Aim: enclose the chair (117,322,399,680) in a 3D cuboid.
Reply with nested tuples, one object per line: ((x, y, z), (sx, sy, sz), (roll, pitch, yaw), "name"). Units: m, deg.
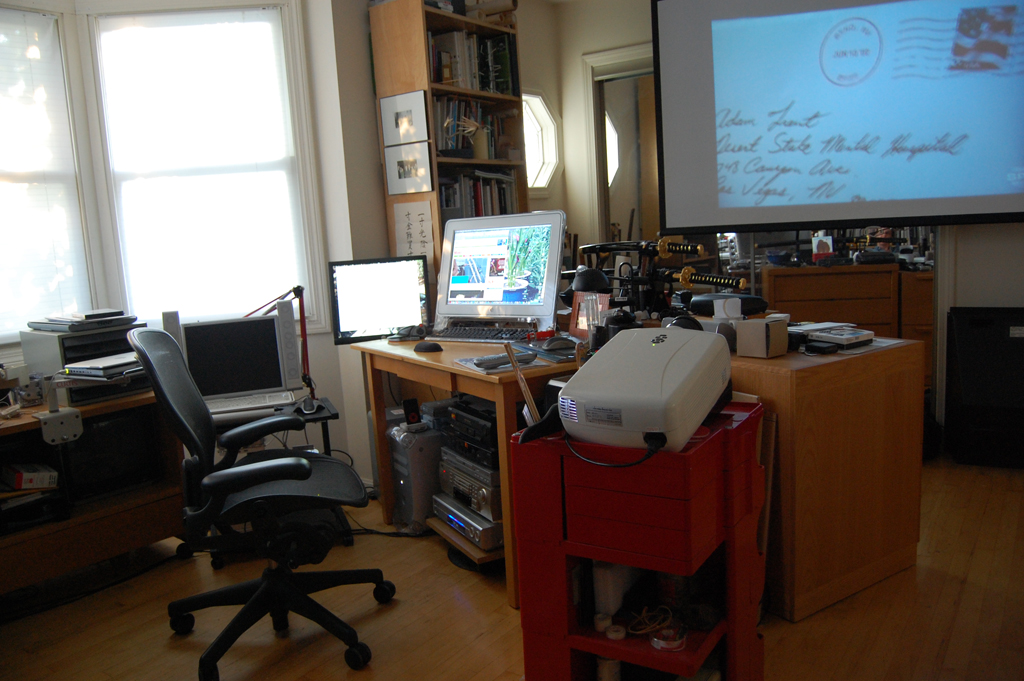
((-1.069, 0.644, 3.983), (1.357, 1.820, 1.392), (-4, 11, -13), "chair")

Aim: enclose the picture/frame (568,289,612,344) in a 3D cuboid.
((0.357, -0.104, 3.540), (0.075, 0.235, 0.236), (-1, -6, -25), "picture/frame")

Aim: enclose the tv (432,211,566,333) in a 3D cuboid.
((-0.055, -0.333, 4.035), (0.660, 0.561, 0.150), (2, -1, 30), "tv")

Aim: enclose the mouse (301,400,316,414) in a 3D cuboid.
((-1.038, 0.338, 3.962), (0.060, 0.028, 0.081), (-1, 17, -12), "mouse")

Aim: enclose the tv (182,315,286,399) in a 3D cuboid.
((-1.478, 0.096, 4.093), (0.418, 0.351, 0.043), (-6, 0, -17), "tv")

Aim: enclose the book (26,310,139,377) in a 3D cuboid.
((-2.240, -0.010, 4.007), (0.461, 0.286, 0.454), (6, 12, 40), "book")

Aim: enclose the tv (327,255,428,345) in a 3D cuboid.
((-0.734, -0.209, 4.273), (0.466, 0.382, 0.046), (-5, 3, -7), "tv")

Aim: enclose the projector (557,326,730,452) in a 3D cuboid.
((0.478, 0.142, 2.701), (0.389, 0.211, 0.519), (13, 46, 41), "projector")

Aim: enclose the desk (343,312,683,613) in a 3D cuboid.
((-0.083, 0.237, 4.189), (1.094, 1.355, 1.467), (-10, 13, -42), "desk")
